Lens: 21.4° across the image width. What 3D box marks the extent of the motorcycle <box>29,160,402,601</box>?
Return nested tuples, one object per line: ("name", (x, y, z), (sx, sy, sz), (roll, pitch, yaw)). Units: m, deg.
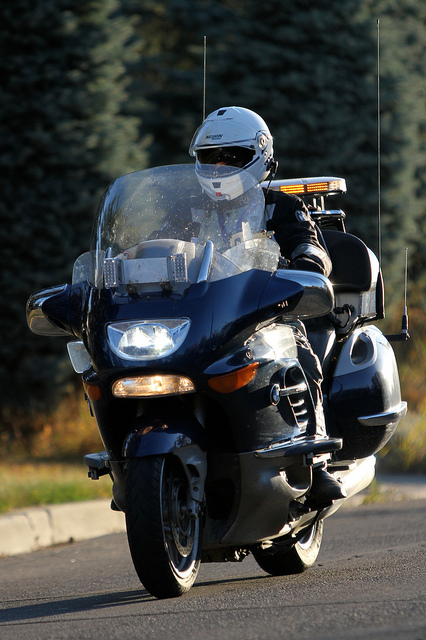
("motorcycle", (-0.066, 0.351, 5.075), (1.236, 1.552, 1.524), (-5, 39, -9))
